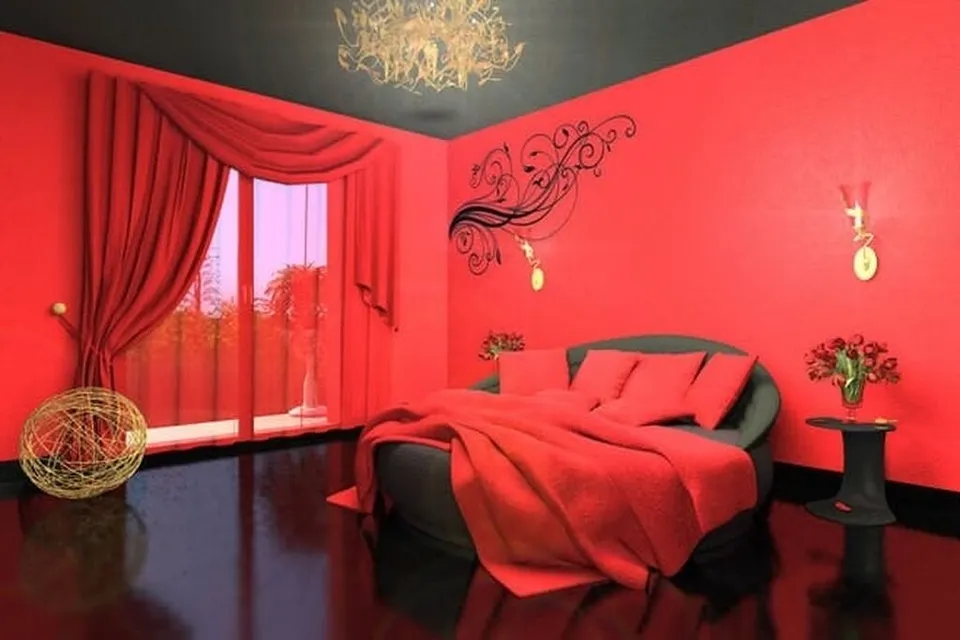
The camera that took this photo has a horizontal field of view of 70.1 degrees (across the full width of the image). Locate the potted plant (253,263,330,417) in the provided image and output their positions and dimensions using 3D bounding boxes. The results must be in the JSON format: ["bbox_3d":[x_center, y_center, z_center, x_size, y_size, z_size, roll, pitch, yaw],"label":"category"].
[{"bbox_3d":[-1.912,0.213,6.875,0.688,1.502,0.298,0,7,-25],"label":"potted plant"}]

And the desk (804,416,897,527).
[{"bbox_3d":[2.757,1.080,5.115,0.616,0.676,0.640,-4,1,-24],"label":"desk"}]

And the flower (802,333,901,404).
[{"bbox_3d":[2.770,0.322,5.189,0.556,0.482,0.553,2,0,-13],"label":"flower"}]

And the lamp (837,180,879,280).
[{"bbox_3d":[2.937,-0.684,5.309,0.316,0.742,0.126,7,7,28],"label":"lamp"}]
